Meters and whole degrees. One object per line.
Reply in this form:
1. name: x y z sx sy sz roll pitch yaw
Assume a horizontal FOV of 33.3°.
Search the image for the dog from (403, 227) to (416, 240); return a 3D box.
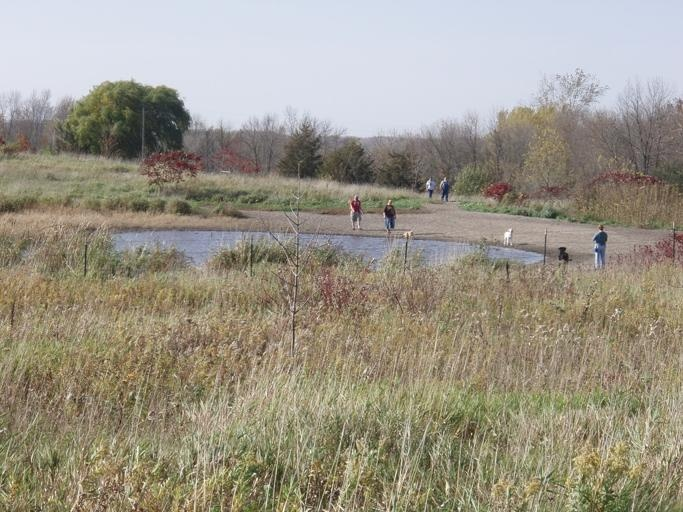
1. dog: 2.161 -0.628 36.166 0.170 0.340 0.601 -1 -4 -4
